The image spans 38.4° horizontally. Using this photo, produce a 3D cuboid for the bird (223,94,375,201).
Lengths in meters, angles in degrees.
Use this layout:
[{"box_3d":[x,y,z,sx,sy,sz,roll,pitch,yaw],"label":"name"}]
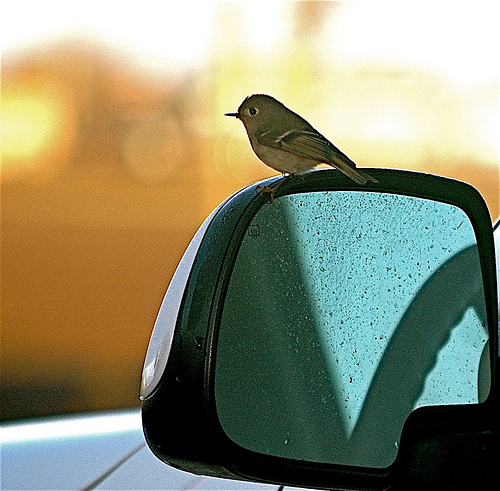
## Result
[{"box_3d":[0.056,-0.101,0.737,0.123,0.054,0.112,-1,88,7],"label":"bird"}]
